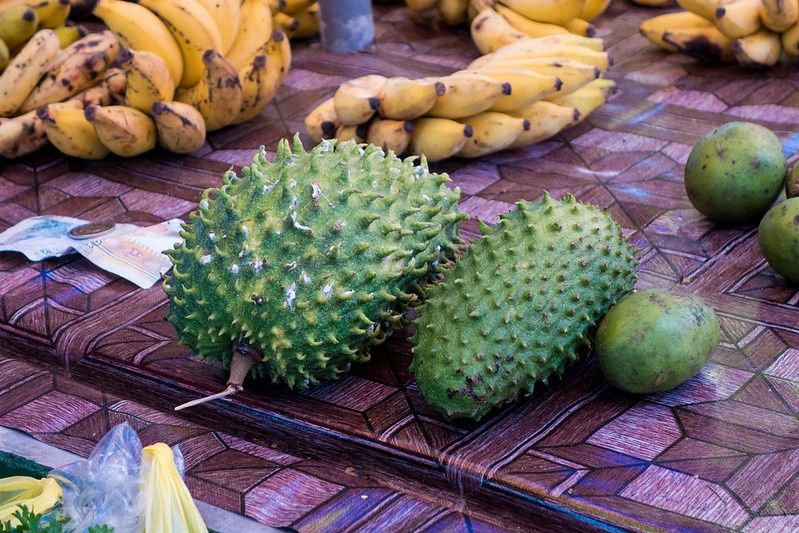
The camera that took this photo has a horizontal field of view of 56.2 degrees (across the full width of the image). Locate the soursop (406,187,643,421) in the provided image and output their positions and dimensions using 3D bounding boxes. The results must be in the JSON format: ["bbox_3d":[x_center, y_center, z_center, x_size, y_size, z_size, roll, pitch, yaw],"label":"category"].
[{"bbox_3d":[0.307,0.094,2.136,0.678,0.458,0.387,-44,93,-7],"label":"soursop"}]

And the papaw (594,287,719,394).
[{"bbox_3d":[0.681,0.204,1.999,0.308,0.231,0.235,-30,46,-25],"label":"papaw"}]

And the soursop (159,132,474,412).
[{"bbox_3d":[-0.206,-0.027,2.156,0.605,0.476,0.947,0,24,44],"label":"soursop"}]
